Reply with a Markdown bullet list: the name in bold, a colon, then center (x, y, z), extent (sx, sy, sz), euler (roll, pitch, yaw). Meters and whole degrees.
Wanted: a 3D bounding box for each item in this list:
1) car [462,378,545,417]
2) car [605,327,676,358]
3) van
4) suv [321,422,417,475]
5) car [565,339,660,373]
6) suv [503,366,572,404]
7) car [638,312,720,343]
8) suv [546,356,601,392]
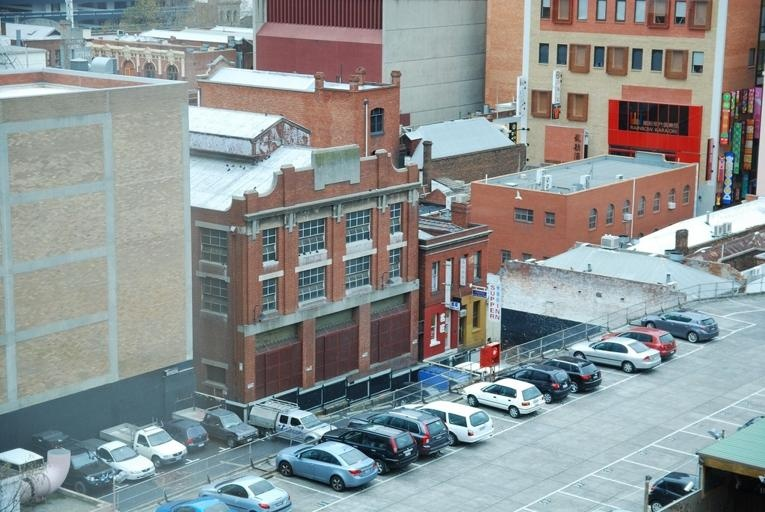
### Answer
- **car**: center (9.344, 10.881, 114.256), extent (5.981, 1.842, 2.712), euler (12, 18, 33)
- **car**: center (21.516, 7.220, 122.143), extent (5.855, 1.680, 2.556), euler (14, 22, 27)
- **van**: center (4.435, 12.571, 108.762), extent (4.404, 2.724, 9.144), euler (1, 4, 32)
- **suv**: center (-0.727, 13.686, 107.202), extent (7.026, 2.275, 3.109), euler (15, 17, 24)
- **car**: center (18.933, 7.993, 120.494), extent (6.790, 1.722, 2.812), euler (10, 18, 30)
- **suv**: center (12.313, 9.803, 116.107), extent (4.846, 1.868, 2.436), euler (16, 20, 29)
- **car**: center (25.315, 5.921, 125.828), extent (6.064, 1.895, 2.702), euler (11, 16, 28)
- **suv**: center (14.588, 9.221, 117.364), extent (4.868, 1.511, 2.195), euler (12, 17, 33)
